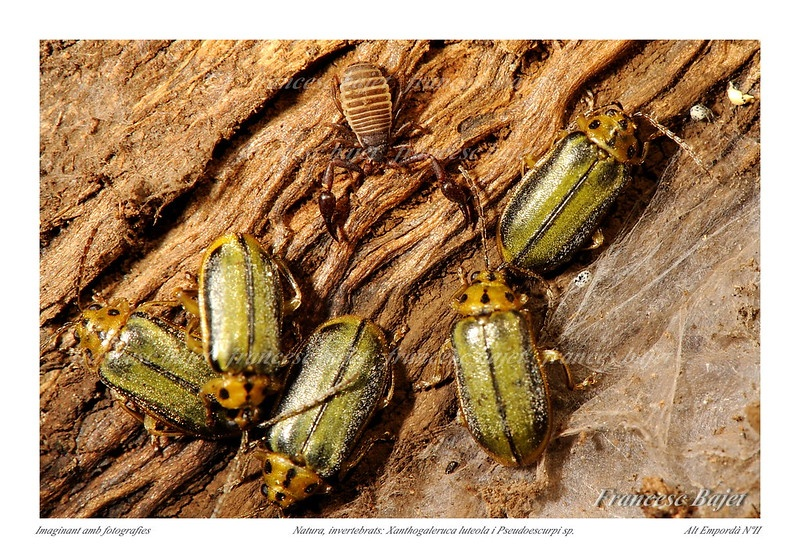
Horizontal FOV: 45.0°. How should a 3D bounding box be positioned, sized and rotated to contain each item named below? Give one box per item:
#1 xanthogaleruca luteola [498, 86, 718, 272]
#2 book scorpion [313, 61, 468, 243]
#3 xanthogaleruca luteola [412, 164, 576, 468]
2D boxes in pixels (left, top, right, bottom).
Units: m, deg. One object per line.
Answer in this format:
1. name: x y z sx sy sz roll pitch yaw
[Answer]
1. xanthogaleruca luteola: 1.912 -0.973 10.608 1.384 1.980 1.480 -6 20 -11
2. book scorpion: -0.283 -1.463 10.581 1.594 1.940 0.486 -10 7 4
3. xanthogaleruca luteola: 1.016 0.804 10.808 1.578 2.061 2.517 -2 14 -7
